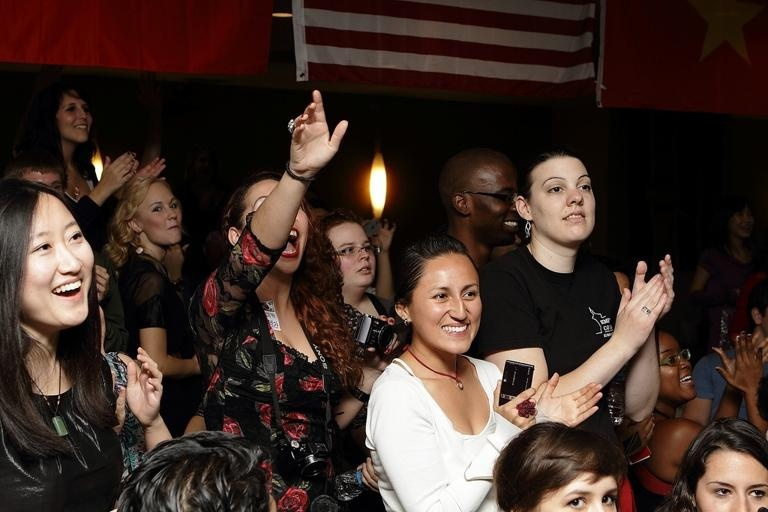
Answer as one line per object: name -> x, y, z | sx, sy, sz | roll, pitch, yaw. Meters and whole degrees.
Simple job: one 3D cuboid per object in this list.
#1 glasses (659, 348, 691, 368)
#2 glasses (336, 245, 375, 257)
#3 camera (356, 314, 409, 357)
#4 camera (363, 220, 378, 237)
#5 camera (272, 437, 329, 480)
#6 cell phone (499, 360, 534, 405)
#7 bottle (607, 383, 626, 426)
glasses -> 1.953, 0.688, 4.232 | 0.160, 0.053, 0.159 | -22, -11, 22
glasses -> -0.154, -0.038, 4.253 | 0.115, 0.082, 0.356 | 15, 9, 41
camera -> 0.000, 0.401, 3.445 | 0.247, 0.155, 0.237 | 7, 2, 0
camera -> -0.096, -0.225, 5.001 | 0.111, 0.135, 0.213 | 4, 17, -4
camera -> -0.387, 0.910, 2.916 | 0.180, 0.199, 0.194 | -15, -23, 6
cell phone -> 0.608, 0.583, 2.863 | 0.125, 0.230, 0.023 | 16, -8, 17
bottle -> 1.192, 0.762, 3.219 | 0.111, 0.220, 0.040 | 5, 8, -19
